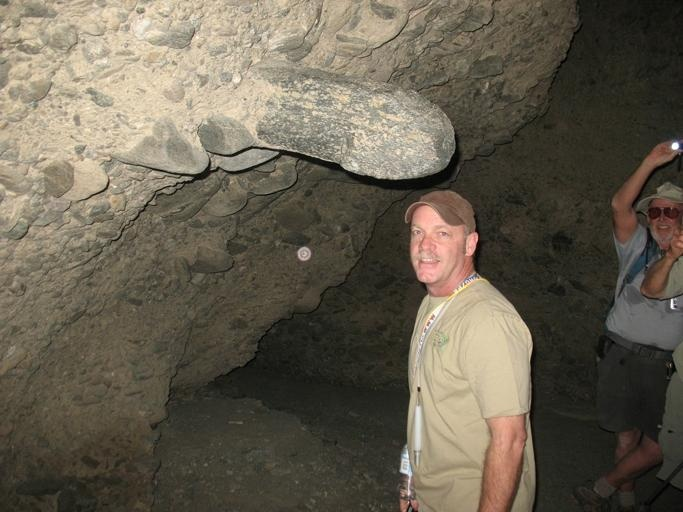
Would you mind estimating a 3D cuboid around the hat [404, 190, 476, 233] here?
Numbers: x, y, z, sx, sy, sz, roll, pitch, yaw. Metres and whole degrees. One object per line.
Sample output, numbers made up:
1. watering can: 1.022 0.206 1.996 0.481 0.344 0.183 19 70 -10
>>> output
1. hat: 0.432 -0.202 2.767 0.268 0.114 0.196 21 -6 -41
